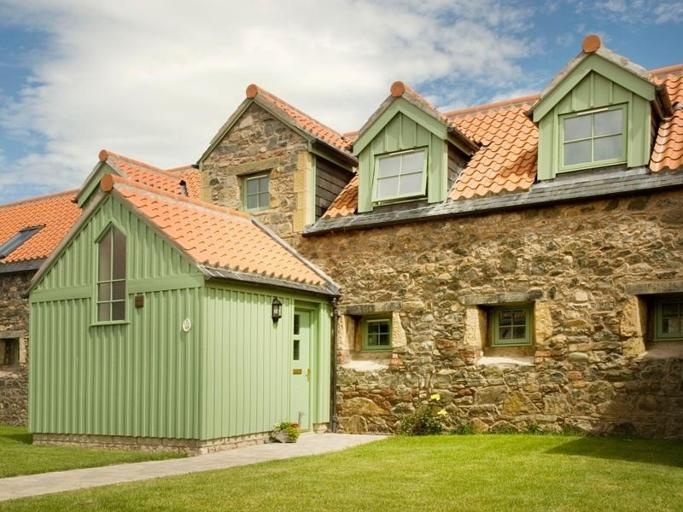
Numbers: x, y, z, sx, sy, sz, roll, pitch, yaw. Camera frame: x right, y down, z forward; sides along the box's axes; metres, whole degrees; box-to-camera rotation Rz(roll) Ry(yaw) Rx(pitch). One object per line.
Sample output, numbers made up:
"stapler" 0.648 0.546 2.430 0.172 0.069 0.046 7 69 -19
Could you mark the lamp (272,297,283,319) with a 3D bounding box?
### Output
"lamp" -1.372 1.145 16.748 0.178 0.497 0.289 -2 -1 21
